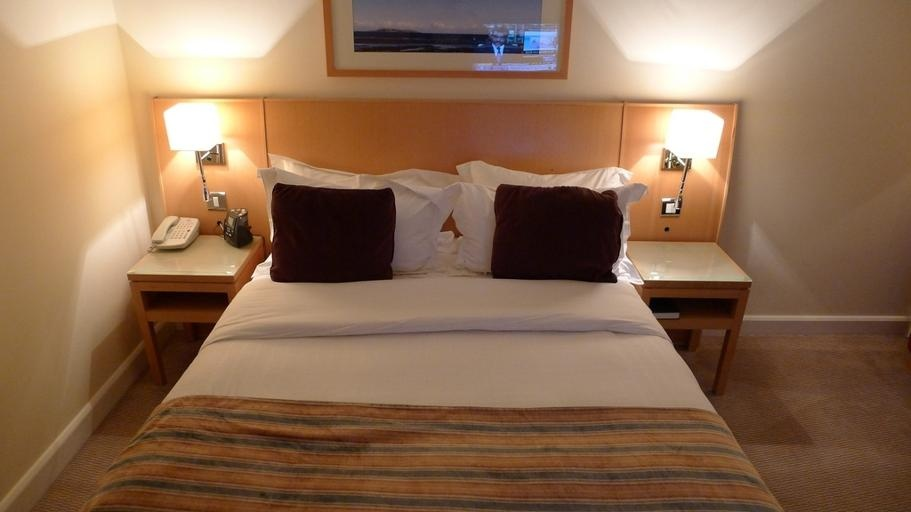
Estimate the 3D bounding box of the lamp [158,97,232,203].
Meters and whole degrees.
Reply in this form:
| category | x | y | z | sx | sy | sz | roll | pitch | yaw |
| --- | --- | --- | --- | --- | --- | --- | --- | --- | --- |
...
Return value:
| category | x | y | z | sx | sy | sz | roll | pitch | yaw |
| --- | --- | --- | --- | --- | --- | --- | --- | --- | --- |
| lamp | -1.916 | -0.737 | 4.571 | 0.339 | 0.652 | 0.245 | 0 | 15 | 8 |

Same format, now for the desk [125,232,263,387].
| category | x | y | z | sx | sy | sz | roll | pitch | yaw |
| --- | --- | --- | --- | --- | --- | --- | --- | --- | --- |
| desk | -1.825 | 0.470 | 4.683 | 0.863 | 0.848 | 0.667 | -1 | 15 | 14 |
